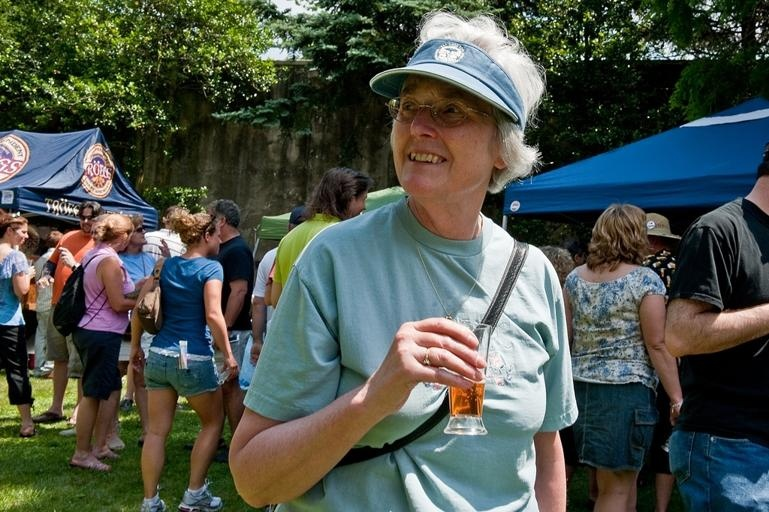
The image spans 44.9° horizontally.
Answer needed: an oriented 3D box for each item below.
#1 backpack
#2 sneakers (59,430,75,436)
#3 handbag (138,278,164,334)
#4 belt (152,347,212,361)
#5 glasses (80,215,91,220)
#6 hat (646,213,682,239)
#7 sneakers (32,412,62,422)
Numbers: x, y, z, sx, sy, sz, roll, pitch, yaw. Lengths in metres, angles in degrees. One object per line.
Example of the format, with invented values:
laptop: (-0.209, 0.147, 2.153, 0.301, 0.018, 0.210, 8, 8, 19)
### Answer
backpack: (-3.989, 0.522, 12.021, 0.531, 1.085, 0.374, 11, 8, -12)
sneakers: (-4.391, 2.431, 12.850, 0.162, 0.064, 0.083, 11, -7, -17)
handbag: (-2.749, 0.589, 10.943, 0.189, 0.485, 0.475, 3, -39, 4)
belt: (-2.396, 1.141, 10.883, 0.710, 0.135, 0.128, 1, 14, -6)
glasses: (-4.363, -0.569, 13.625, 0.090, 0.052, 0.114, -1, -8, -4)
hat: (3.498, -0.371, 11.859, 0.440, 0.171, 0.440, 7, -6, -23)
sneakers: (-4.820, 2.301, 13.277, 0.380, 0.153, 0.135, 6, -3, -20)
